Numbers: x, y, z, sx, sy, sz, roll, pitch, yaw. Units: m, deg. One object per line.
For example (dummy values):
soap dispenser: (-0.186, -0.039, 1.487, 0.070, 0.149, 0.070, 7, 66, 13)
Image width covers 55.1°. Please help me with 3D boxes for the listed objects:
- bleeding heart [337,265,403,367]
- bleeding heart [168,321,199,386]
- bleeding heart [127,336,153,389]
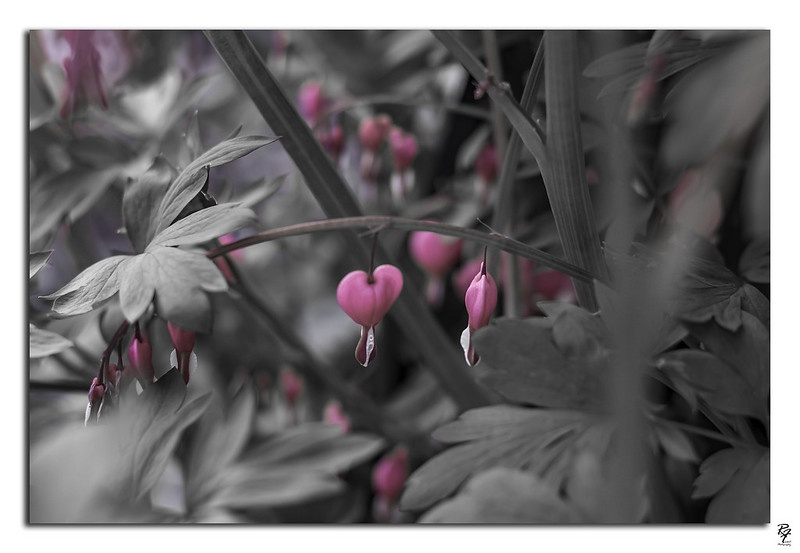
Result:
bleeding heart: (-0.080, 0.109, 2.026, 0.144, 0.279, 0.181, 7, 15, 22)
bleeding heart: (-0.564, 0.198, 2.021, 0.070, 0.156, 0.047, -12, 16, 4)
bleeding heart: (-0.675, 0.225, 2.018, 0.060, 0.127, 0.032, -20, 18, -22)
